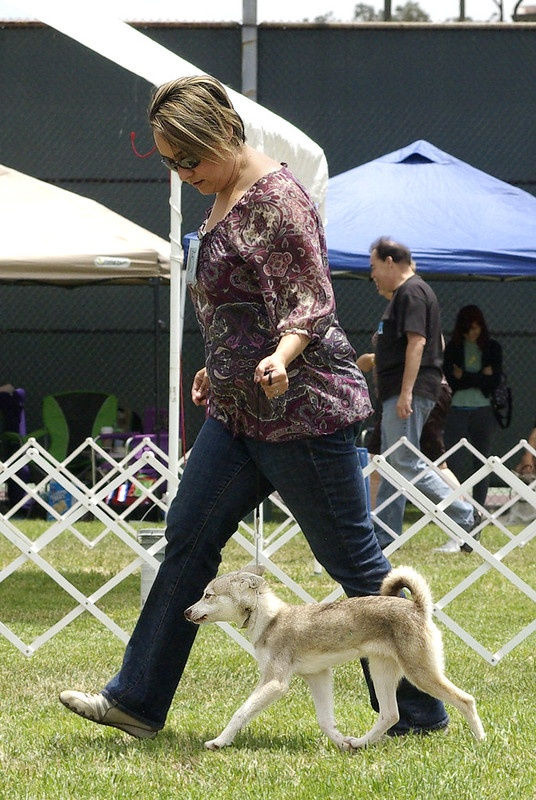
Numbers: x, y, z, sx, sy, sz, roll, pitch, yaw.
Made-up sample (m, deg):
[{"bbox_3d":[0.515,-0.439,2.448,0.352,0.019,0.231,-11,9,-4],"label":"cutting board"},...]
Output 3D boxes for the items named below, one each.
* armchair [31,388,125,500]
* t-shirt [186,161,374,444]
[{"bbox_3d":[-1.689,0.297,10.200,0.781,0.995,0.740,0,-9,-6],"label":"armchair"},{"bbox_3d":[0.028,-0.249,3.320,0.546,0.774,0.366,4,16,5],"label":"t-shirt"}]
